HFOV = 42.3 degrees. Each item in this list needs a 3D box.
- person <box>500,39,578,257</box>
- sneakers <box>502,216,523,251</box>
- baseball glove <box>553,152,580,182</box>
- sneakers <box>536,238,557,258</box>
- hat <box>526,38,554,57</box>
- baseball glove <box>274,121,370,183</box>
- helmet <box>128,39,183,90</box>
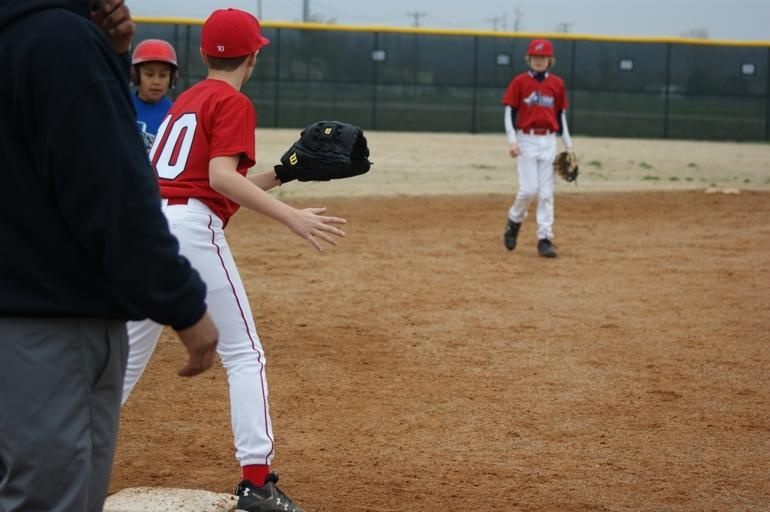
[{"bbox_3d":[1.393,-0.980,9.094,0.590,1.936,0.597,-1,11,4],"label":"person"},{"bbox_3d":[1.189,-0.194,9.364,0.129,0.379,0.270,5,-1,-3],"label":"sneakers"},{"bbox_3d":[1.715,-0.848,9.600,0.130,0.298,0.268,2,51,47],"label":"baseball glove"},{"bbox_3d":[1.485,-0.064,9.094,0.096,0.116,0.258,-1,0,-4],"label":"sneakers"},{"bbox_3d":[1.402,-1.876,8.975,0.199,0.153,0.281,-1,11,2],"label":"hat"},{"bbox_3d":[-0.349,-0.529,5.458,0.448,0.216,0.328,-8,36,17],"label":"baseball glove"},{"bbox_3d":[-1.581,-1.408,6.907,0.404,0.348,0.427,1,-4,-21],"label":"helmet"}]
